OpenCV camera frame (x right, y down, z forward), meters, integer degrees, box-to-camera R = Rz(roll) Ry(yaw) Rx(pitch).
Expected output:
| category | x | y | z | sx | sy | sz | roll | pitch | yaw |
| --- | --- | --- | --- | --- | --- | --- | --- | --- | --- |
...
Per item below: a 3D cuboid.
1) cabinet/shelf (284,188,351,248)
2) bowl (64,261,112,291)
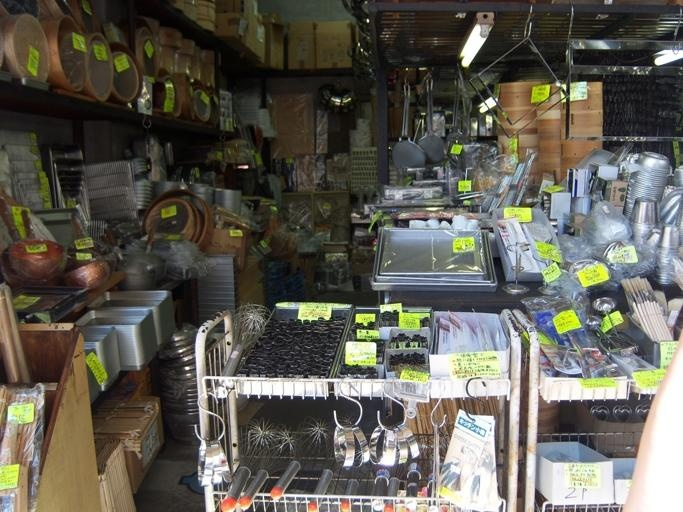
| category | x | y | z | sx | sy | sz | roll | pitch | yaw |
| --- | --- | --- | --- | --- | --- | --- | --- | --- | --- |
| cabinet/shelf | -0.403 | -0.609 | 7.223 | 0.959 | 0.916 | 0.362 | -2 | 38 | -2 |
| bowl | -1.195 | 0.085 | 2.353 | 0.201 | 0.141 | 0.170 | -3 | 4 | -28 |
